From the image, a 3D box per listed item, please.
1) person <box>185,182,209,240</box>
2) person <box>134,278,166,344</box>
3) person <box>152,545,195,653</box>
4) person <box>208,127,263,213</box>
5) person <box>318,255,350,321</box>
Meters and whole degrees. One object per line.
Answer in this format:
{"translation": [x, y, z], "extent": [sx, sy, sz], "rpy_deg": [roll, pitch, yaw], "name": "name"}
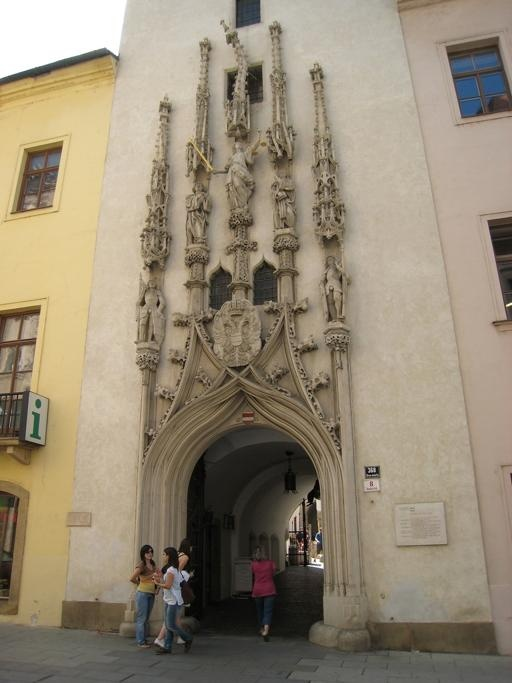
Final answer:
{"translation": [-0.971, -2.136, 9.826], "extent": [0.422, 1.231, 0.259], "rpy_deg": [1, -21, -8], "name": "person"}
{"translation": [-1.673, -0.452, 9.308], "extent": [0.481, 1.158, 0.287], "rpy_deg": [6, -22, -21], "name": "person"}
{"translation": [-0.868, 2.723, 6.163], "extent": [0.378, 1.041, 0.689], "rpy_deg": [1, -20, -9], "name": "person"}
{"translation": [-0.248, -2.849, 9.865], "extent": [0.939, 1.720, 0.442], "rpy_deg": [-8, -21, 15], "name": "person"}
{"translation": [1.129, -0.740, 8.363], "extent": [0.389, 1.055, 0.197], "rpy_deg": [-6, -21, 10], "name": "person"}
